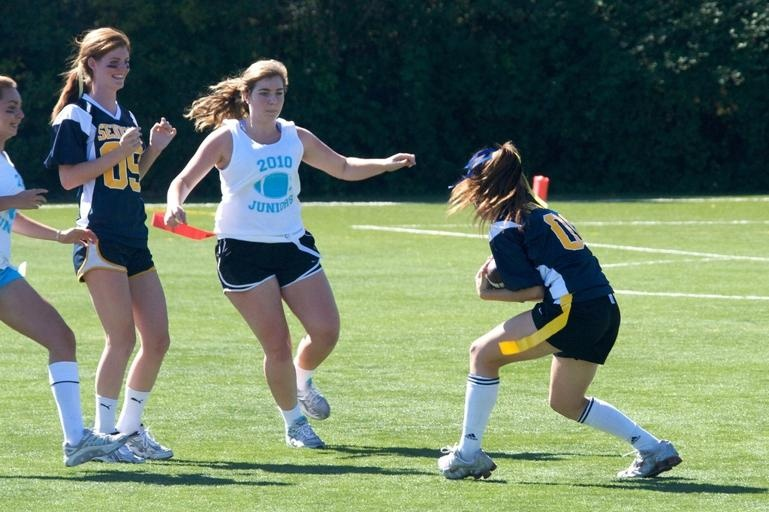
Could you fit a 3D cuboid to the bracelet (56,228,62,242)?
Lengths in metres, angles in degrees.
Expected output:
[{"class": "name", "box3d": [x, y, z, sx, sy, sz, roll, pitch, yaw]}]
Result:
[{"class": "bracelet", "box3d": [-3.262, -0.199, 13.272, 0.028, 0.088, 0.095, 8, -6, -25]}]

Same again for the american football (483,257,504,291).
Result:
[{"class": "american football", "box3d": [1.104, 0.175, 13.256, 0.253, 0.269, 0.227, 10, 2, 33]}]
